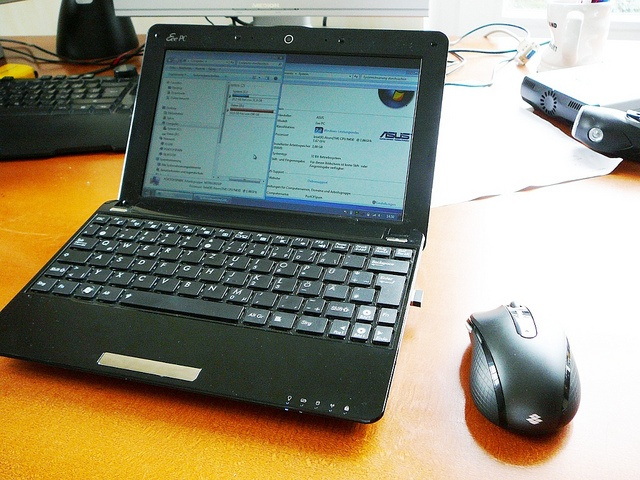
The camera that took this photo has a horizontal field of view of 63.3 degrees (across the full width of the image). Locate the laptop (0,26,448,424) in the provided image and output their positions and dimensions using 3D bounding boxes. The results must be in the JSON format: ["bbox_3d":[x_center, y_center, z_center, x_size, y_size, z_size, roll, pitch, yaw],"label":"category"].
[{"bbox_3d":[-0.090,-0.067,0.575,0.423,0.249,0.409,11,38,10],"label":"laptop"}]

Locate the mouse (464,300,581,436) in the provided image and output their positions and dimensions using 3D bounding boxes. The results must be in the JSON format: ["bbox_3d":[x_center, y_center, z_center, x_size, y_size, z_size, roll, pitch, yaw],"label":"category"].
[{"bbox_3d":[0.198,0.099,0.512,0.106,0.057,0.172,-3,30,15],"label":"mouse"}]
